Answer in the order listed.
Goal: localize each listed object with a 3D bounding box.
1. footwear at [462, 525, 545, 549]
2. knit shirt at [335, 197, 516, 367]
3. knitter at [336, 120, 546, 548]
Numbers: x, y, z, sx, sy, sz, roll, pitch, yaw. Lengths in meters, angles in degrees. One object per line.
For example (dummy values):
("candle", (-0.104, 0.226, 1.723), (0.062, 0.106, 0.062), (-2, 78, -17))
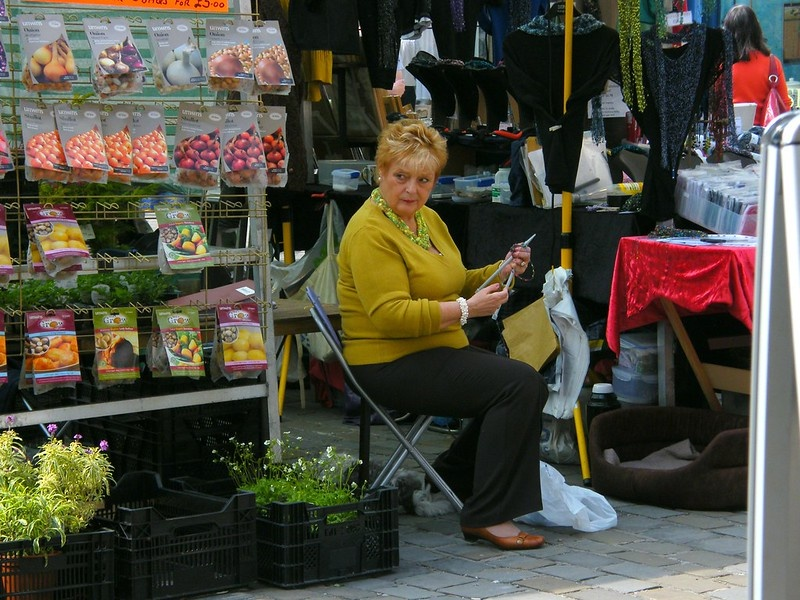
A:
("footwear", (0.461, 1.038, 4.469), (0.353, 0.152, 0.130), (-3, -1, 4))
("knit shirt", (0.076, -0.133, 4.642), (0.639, 0.712, 0.795), (-2, 8, 32))
("knitter", (0.161, 0.121, 4.707), (1.014, 1.830, 1.007), (-2, 4, -17))
